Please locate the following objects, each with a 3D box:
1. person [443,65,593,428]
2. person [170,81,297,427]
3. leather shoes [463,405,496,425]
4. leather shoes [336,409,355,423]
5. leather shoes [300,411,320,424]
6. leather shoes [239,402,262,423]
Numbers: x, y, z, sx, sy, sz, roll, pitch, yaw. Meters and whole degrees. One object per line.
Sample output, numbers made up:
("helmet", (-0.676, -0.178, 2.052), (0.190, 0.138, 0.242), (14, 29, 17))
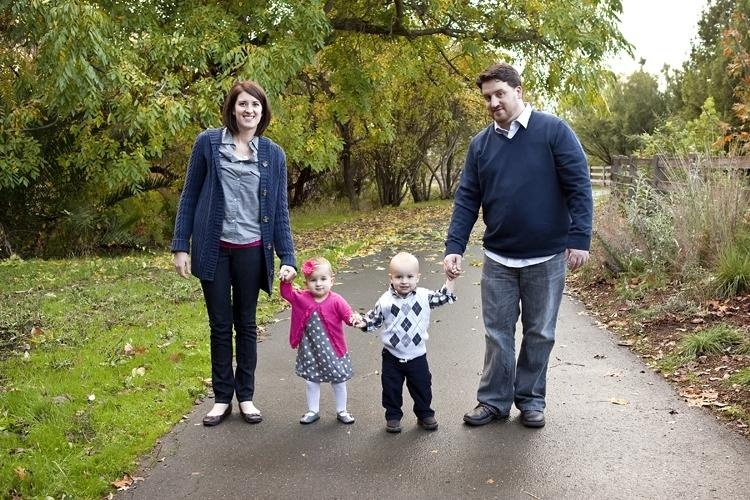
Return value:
("person", (1.397, -0.021, 5.527), (1.299, 3.430, 0.730), (4, 15, 17))
("person", (-1.410, 0.028, 5.705), (1.179, 3.319, 0.746), (-5, 15, -18))
("leather shoes", (1.044, 1.654, 5.649), (0.324, 0.130, 0.150), (1, -3, -45))
("leather shoes", (-0.290, 1.677, 5.717), (0.093, 0.080, 0.182), (0, -6, -26))
("leather shoes", (-0.670, 1.690, 5.721), (0.086, 0.080, 0.185), (-3, -10, 33))
("leather shoes", (-1.266, 1.644, 5.747), (0.117, 0.139, 0.332), (-1, -5, -21))
